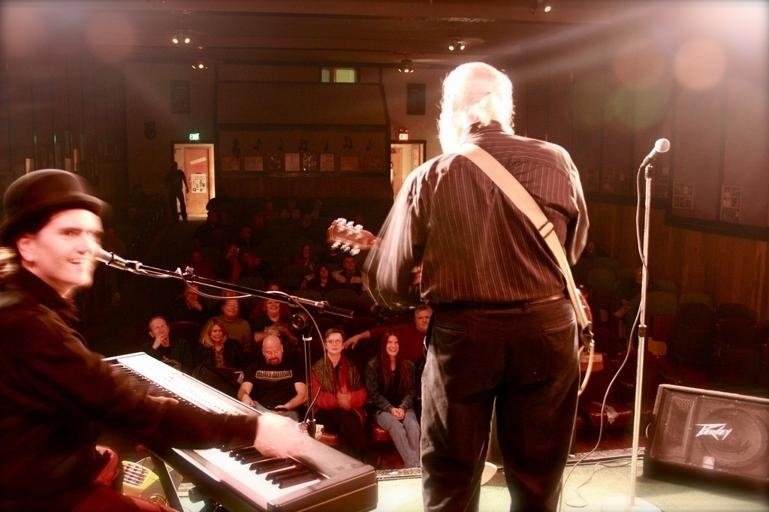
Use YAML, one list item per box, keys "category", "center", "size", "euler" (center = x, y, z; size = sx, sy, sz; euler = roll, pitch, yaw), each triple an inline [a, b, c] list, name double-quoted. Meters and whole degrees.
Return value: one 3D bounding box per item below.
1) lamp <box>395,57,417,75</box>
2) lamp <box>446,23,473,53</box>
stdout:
- category: "lamp"
  center: [0.481, -4.308, 14.362]
  size: [0.479, 0.463, 0.483]
  euler: [0, 2, 2]
- category: "lamp"
  center: [1.474, -4.232, 12.534]
  size: [0.524, 0.320, 0.517]
  euler: [-3, 3, -35]
